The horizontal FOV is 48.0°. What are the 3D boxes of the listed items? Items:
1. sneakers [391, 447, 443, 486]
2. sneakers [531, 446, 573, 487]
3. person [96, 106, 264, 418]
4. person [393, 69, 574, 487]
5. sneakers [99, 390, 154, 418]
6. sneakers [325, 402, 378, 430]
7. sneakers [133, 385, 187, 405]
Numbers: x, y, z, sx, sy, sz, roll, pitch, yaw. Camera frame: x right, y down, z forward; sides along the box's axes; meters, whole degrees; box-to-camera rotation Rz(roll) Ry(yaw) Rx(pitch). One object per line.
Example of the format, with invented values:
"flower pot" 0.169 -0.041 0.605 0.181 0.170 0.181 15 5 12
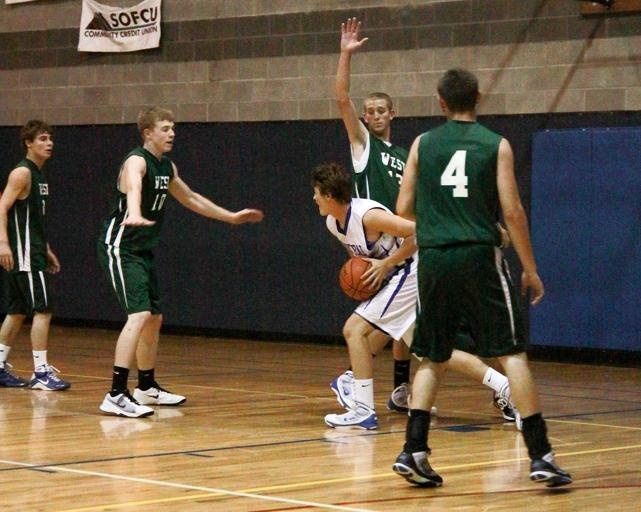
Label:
"sneakers" 0.412 0.892 3.000 0.187 0.191 0.237 1 4 13
"sneakers" 0.922 0.881 2.920 0.167 0.190 0.158 0 4 1
"person" -1.207 0.030 5.034 0.809 2.190 1.229 0 4 3
"person" 0.646 0.098 3.054 0.663 1.826 0.474 0 4 6
"sneakers" -1.289 0.974 4.843 0.364 0.192 0.155 6 -2 3
"sneakers" 0.213 1.002 4.501 0.353 0.207 0.144 4 -5 9
"sneakers" -1.162 1.016 5.202 0.415 0.202 0.151 2 1 -8
